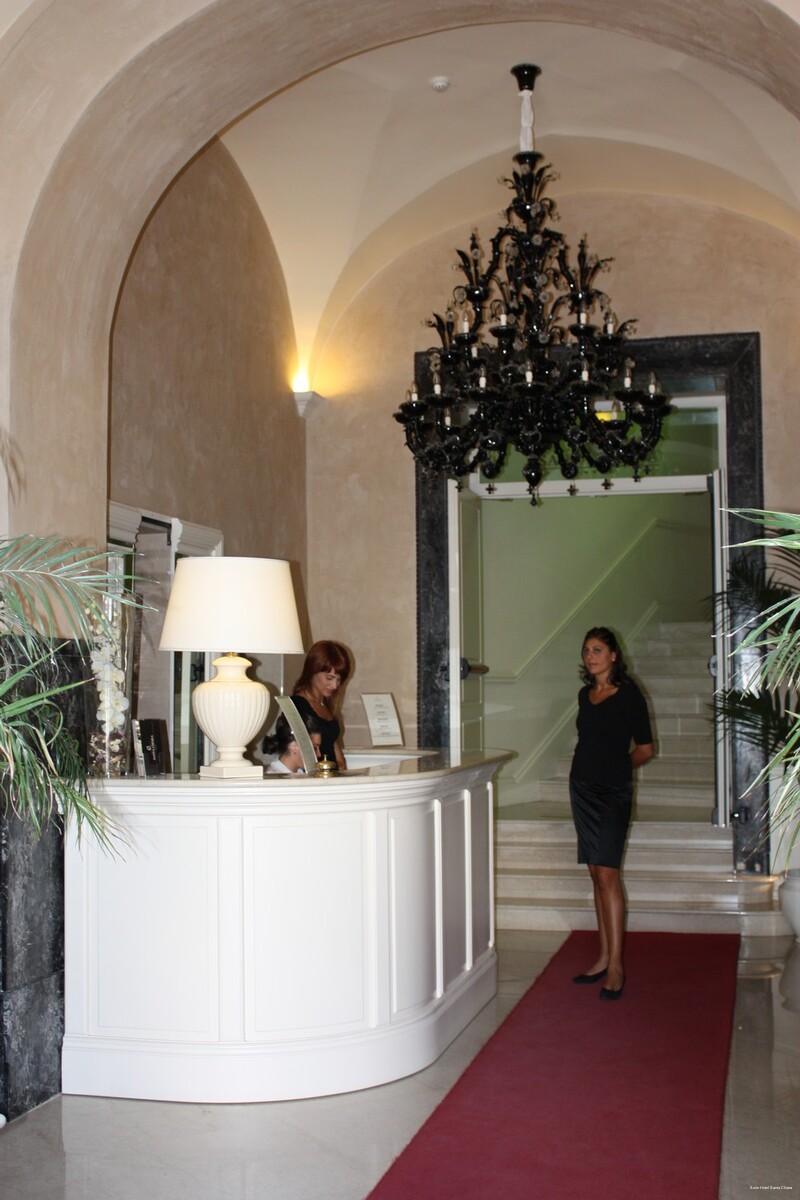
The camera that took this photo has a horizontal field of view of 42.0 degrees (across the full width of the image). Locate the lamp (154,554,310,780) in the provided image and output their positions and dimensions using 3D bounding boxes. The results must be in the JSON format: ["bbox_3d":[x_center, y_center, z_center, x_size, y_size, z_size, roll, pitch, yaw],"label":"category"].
[{"bbox_3d":[-0.567,0.223,3.444,0.467,0.724,0.401,-3,-5,15],"label":"lamp"}]

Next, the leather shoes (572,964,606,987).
[{"bbox_3d":[0.871,1.754,4.828,0.148,0.057,0.052,9,-12,-38],"label":"leather shoes"}]

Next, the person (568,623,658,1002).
[{"bbox_3d":[0.922,0.946,4.822,0.381,1.623,0.451,-7,-7,41],"label":"person"}]
